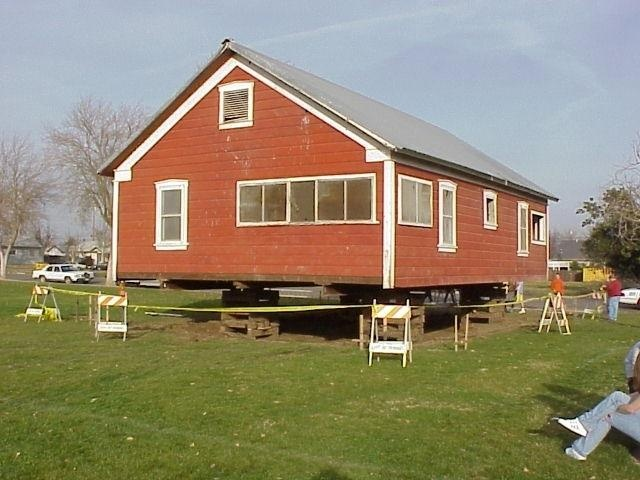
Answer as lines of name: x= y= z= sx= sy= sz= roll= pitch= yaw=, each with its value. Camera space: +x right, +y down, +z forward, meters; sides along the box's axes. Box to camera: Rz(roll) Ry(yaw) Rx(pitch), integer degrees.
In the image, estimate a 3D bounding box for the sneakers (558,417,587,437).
sneakers: x=4.206 y=3.098 z=9.554 sx=0.684 sy=0.208 sz=0.281 roll=15 pitch=-43 yaw=-39
